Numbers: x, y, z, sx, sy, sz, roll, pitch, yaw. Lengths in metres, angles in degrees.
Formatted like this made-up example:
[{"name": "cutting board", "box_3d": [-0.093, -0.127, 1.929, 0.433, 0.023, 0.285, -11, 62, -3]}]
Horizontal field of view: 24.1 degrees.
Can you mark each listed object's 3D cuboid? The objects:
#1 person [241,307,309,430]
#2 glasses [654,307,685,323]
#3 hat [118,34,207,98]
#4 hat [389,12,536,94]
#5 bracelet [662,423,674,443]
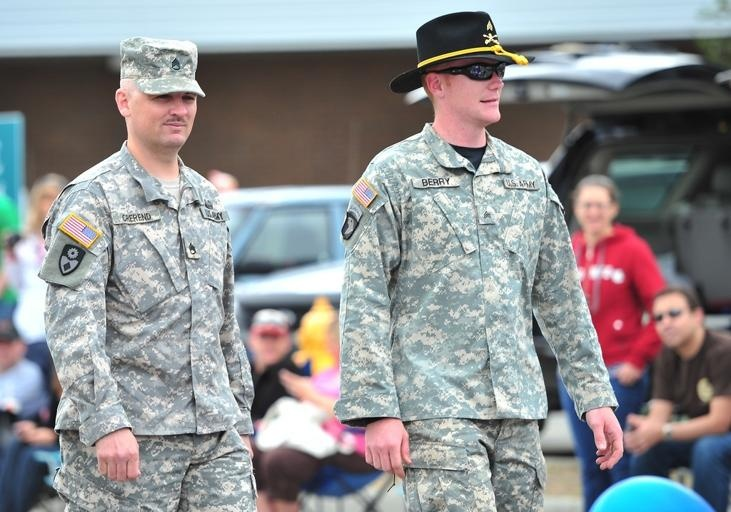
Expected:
[{"name": "person", "box_3d": [-0.594, 0.771, 11.178, 0.776, 0.740, 0.251, 0, -13, 0]}, {"name": "glasses", "box_3d": [1.907, 0.378, 10.743, 0.202, 0.098, 0.048, -5, -9, 28]}, {"name": "hat", "box_3d": [-1.070, -0.985, 8.935, 0.421, 0.303, 0.540, 1, 6, -40]}, {"name": "hat", "box_3d": [0.462, -1.122, 8.945, 0.746, 0.304, 0.662, -4, 12, 22]}, {"name": "bracelet", "box_3d": [1.887, 1.104, 10.597, 0.087, 0.123, 0.091, 0, -3, 0]}]
